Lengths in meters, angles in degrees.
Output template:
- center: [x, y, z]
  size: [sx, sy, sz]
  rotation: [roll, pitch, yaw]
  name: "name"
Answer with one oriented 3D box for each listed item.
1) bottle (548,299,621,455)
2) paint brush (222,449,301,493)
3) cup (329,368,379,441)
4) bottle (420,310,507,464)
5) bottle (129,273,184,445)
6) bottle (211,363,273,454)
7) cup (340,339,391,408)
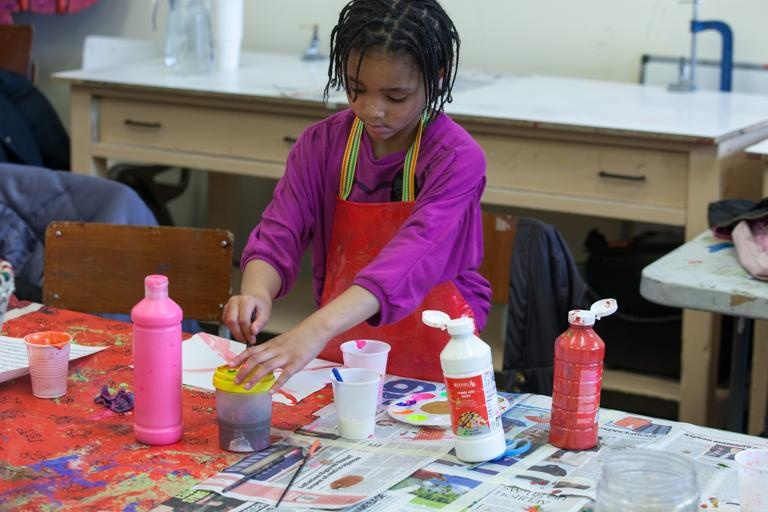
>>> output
- center: [0.354, 0.197, 1.211]
  size: [0.101, 0.256, 0.166]
  rotation: [3, 7, 16]
  name: "bottle"
- center: [-0.198, 0.350, 1.096]
  size: [0.012, 0.009, 0.118]
  rotation: [-20, 2, 37]
  name: "paint brush"
- center: [-0.042, 0.255, 1.194]
  size: [0.114, 0.112, 0.111]
  rotation: [1, 1, 0]
  name: "cup"
- center: [0.137, 0.217, 1.142]
  size: [0.145, 0.245, 0.086]
  rotation: [2, 7, 5]
  name: "bottle"
- center: [-0.384, 0.177, 1.150]
  size: [0.077, 0.288, 0.038]
  rotation: [-1, 7, -19]
  name: "bottle"
- center: [-0.235, 0.269, 1.218]
  size: [0.141, 0.150, 0.135]
  rotation: [-1, 9, -4]
  name: "bottle"
- center: [-0.030, 0.227, 1.324]
  size: [0.116, 0.113, 0.115]
  rotation: [-1, 6, 0]
  name: "cup"
